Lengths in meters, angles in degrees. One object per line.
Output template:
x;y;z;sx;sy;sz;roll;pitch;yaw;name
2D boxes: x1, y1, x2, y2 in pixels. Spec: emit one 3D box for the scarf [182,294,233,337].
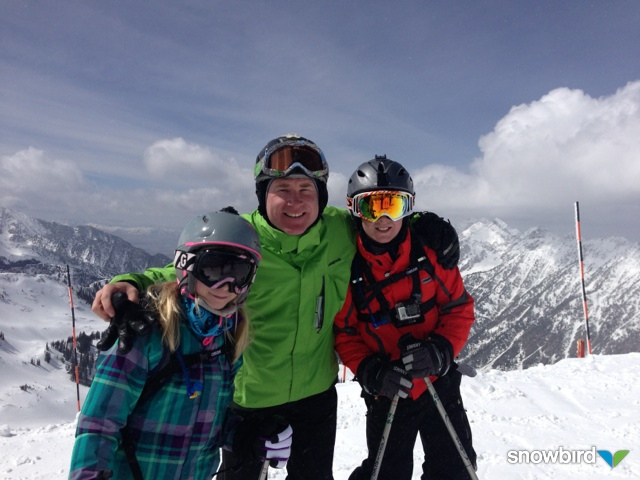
-2.166;1.315;9.045;0.778;0.697;0.742;0;7;-16;scarf
